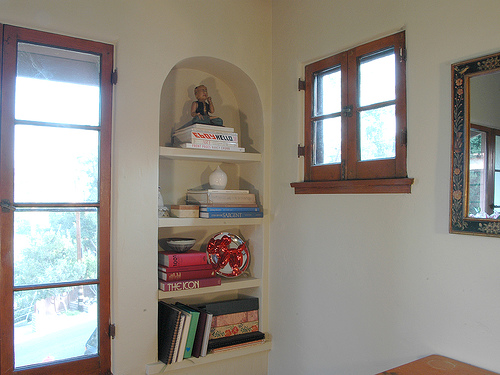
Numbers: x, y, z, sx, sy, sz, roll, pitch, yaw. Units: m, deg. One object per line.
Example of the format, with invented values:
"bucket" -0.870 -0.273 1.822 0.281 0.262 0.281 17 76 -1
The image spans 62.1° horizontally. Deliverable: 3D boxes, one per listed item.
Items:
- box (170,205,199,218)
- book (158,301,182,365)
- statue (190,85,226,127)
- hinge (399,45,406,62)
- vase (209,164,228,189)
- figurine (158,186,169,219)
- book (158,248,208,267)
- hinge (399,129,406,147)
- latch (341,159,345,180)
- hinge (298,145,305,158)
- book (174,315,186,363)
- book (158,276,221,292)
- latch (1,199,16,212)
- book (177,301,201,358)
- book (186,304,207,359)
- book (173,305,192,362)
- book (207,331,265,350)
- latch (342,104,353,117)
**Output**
"box" -0.489 0.181 3.092 0.214 0.092 0.117 -1 0 -6
"book" -0.583 1.043 2.935 0.072 0.325 0.311 7 0 -35
"statue" -0.350 -0.569 3.258 0.256 0.398 0.353 1 1 38
"hinge" 0.938 -0.829 2.565 0.018 0.082 0.048 -1 0 -35
"vase" -0.246 -0.064 3.227 0.141 0.214 0.139 1 2 0
"figurine" -0.645 0.129 3.109 0.071 0.222 0.368 -1 0 -10
"book" -0.496 0.531 3.111 0.374 0.128 0.212 -1 0 -13
"hinge" 0.934 -0.304 2.541 0.014 0.088 0.038 -1 0 -38
"latch" 0.634 -0.123 2.824 0.024 0.120 0.014 -1 0 37
"hinge" 0.384 -0.270 3.054 0.057 0.086 0.060 -1 3 -28
"book" -0.490 1.058 2.908 0.084 0.325 0.032 -1 0 -9
"book" -0.436 0.707 3.040 0.458 0.102 0.105 -1 0 -15
"latch" -1.495 0.112 2.559 0.017 0.071 0.070 -5 0 41
"book" -0.436 1.034 2.954 0.178 0.310 0.317 7 3 -24
"book" -0.443 1.072 3.076 0.159 0.268 0.272 5 -5 1
"book" -0.464 1.062 2.934 0.062 0.283 0.268 5 2 -17
"book" -0.109 1.177 3.196 0.490 0.059 0.081 -1 0 -30
"latch" 0.658 -0.522 2.810 0.023 0.071 0.068 -4 14 -38
